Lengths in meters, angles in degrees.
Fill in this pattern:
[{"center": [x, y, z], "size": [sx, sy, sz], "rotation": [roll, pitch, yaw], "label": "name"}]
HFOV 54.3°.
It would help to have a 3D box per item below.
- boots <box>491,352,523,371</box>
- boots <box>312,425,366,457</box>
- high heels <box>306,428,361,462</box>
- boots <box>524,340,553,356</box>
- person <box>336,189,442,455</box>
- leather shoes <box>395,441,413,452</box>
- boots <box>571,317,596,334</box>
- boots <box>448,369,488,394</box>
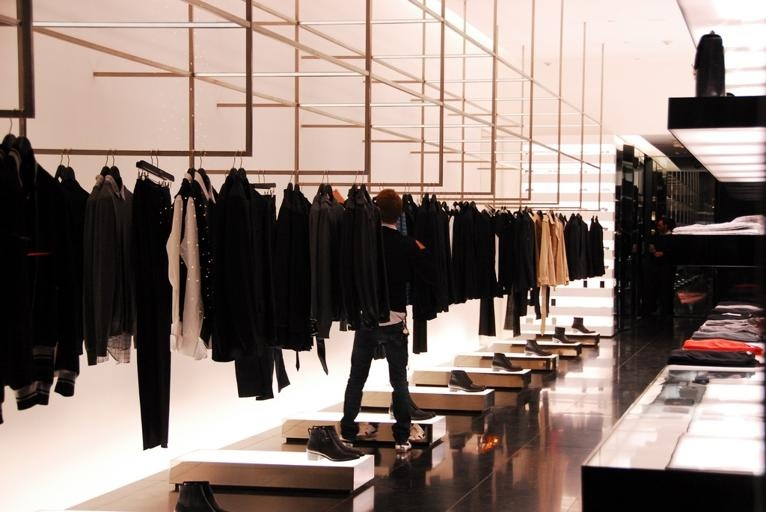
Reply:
[{"center": [1.390, 1.223, 8.694], "size": [0.419, 0.200, 0.147], "rotation": [5, -2, 4], "label": "boots"}, {"center": [-0.391, 1.376, 5.583], "size": [0.463, 0.208, 0.169], "rotation": [1, -5, 18], "label": "boots"}, {"center": [-0.307, 1.381, 5.557], "size": [0.485, 0.220, 0.176], "rotation": [3, -3, 20], "label": "high heels"}, {"center": [2.080, 1.206, 9.859], "size": [0.480, 0.217, 0.175], "rotation": [6, 0, 1], "label": "boots"}, {"center": [-0.006, 0.540, 6.056], "size": [0.759, 2.089, 0.426], "rotation": [-4, 0, -6], "label": "person"}, {"center": [0.166, 1.592, 6.253], "size": [0.054, 0.061, 0.146], "rotation": [0, -2, 19], "label": "leather shoes"}, {"center": [3.272, 1.116, 12.121], "size": [0.467, 0.301, 0.183], "rotation": [2, -3, 6], "label": "boots"}, {"center": [0.898, 1.279, 7.652], "size": [0.450, 0.211, 0.161], "rotation": [2, -4, 15], "label": "boots"}]
